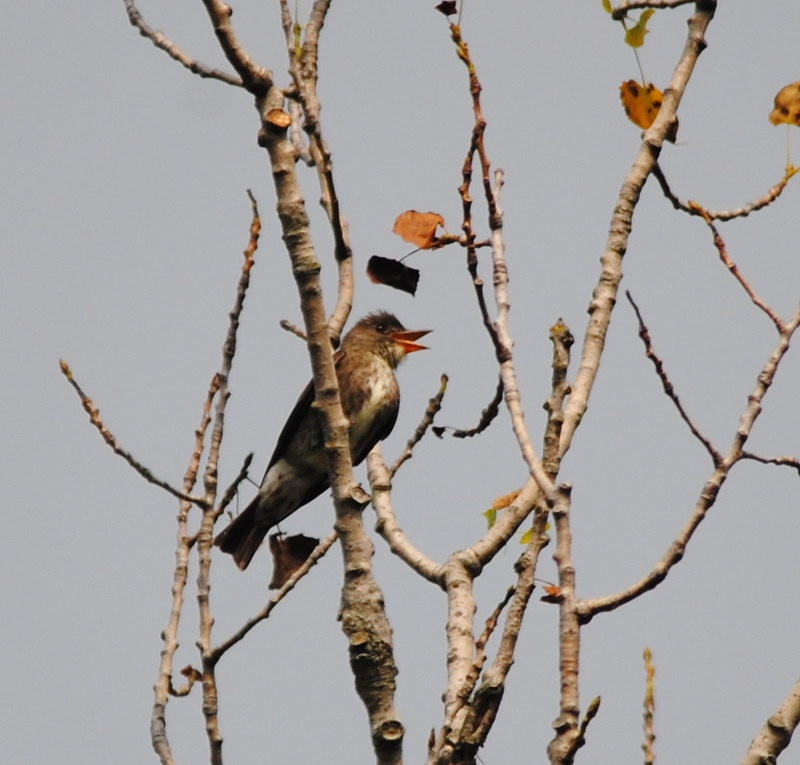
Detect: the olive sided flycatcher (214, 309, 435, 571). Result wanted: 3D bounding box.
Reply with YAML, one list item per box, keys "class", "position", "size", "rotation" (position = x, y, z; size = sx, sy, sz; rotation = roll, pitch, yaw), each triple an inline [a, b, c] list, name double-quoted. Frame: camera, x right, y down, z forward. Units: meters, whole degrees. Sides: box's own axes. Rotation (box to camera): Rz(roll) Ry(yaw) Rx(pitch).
- class: "olive sided flycatcher"
  position: [-0.337, 0.214, 8.578]
  size: [0.558, 1.514, 0.896]
  rotation: [35, -55, -20]
